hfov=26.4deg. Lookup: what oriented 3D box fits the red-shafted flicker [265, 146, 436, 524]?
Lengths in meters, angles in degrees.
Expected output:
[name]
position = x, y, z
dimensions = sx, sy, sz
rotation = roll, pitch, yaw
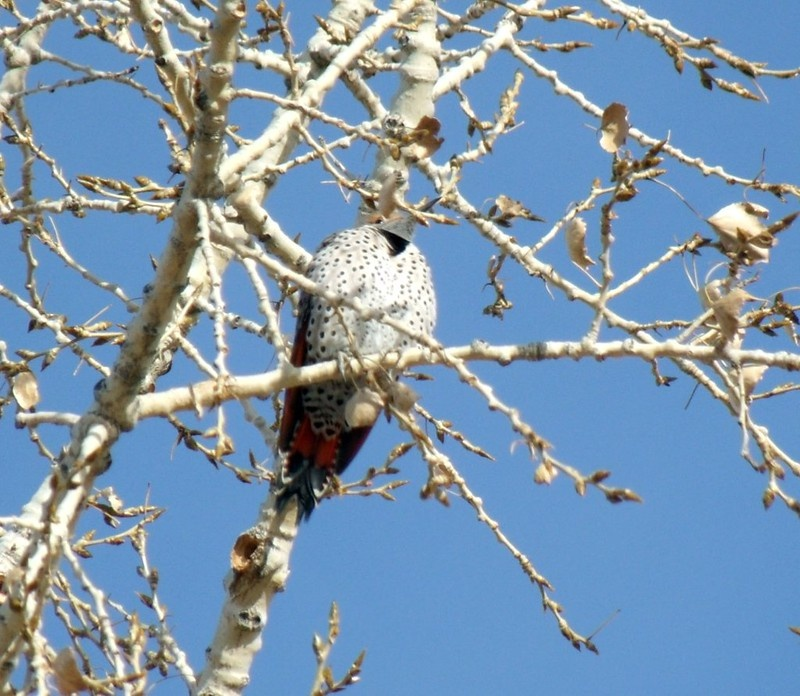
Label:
[red-shafted flicker]
position = -0.206, -0.064, 7.069
dimensions = 0.744, 1.396, 0.452
rotation = -18, -31, 40
